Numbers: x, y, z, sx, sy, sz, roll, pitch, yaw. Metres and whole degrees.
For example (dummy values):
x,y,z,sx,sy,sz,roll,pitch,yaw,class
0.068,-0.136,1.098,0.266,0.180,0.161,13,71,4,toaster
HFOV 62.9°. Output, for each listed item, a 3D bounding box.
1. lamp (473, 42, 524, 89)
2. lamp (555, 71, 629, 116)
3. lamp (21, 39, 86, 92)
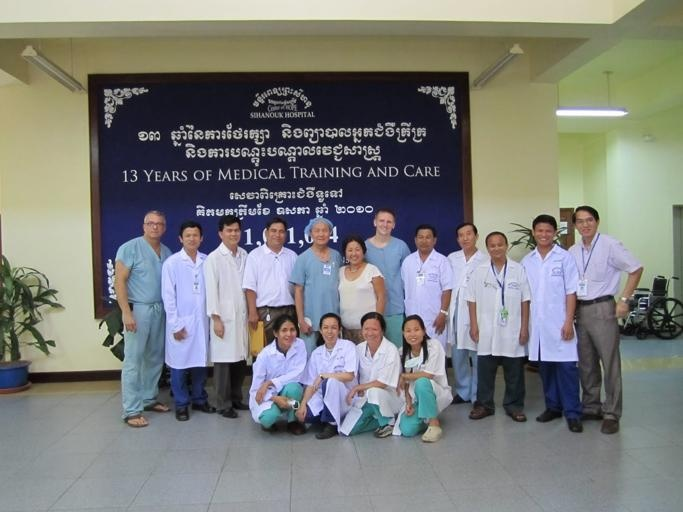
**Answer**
x,y,z,sx,sy,sz,roll,pitch,yaw,class
1.698,-2.086,6.210,0.451,0.308,1.046,0,7,11,lamp
3.845,-2.530,8.680,1.018,0.661,0.376,3,3,14,lamp
-2.979,-1.959,5.814,0.325,0.321,0.990,-3,7,-12,lamp
